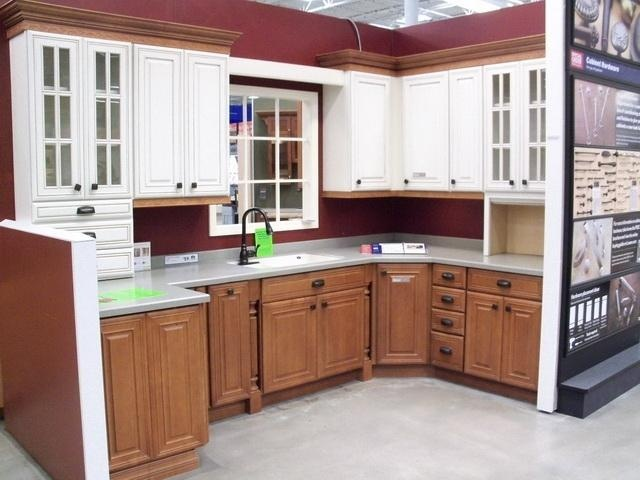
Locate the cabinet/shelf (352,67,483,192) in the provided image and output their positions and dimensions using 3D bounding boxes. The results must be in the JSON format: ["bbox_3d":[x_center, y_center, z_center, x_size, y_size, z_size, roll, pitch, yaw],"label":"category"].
[{"bbox_3d":[0.893,-1.006,4.763,1.140,1.081,0.402,2,3,34],"label":"cabinet/shelf"}]

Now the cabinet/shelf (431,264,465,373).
[{"bbox_3d":[1.099,0.678,4.531,0.099,0.926,0.346,-7,11,-40],"label":"cabinet/shelf"}]

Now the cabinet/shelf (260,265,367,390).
[{"bbox_3d":[-0.079,0.683,4.211,0.979,0.855,0.407,-5,6,-42],"label":"cabinet/shelf"}]

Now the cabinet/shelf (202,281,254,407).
[{"bbox_3d":[-0.618,0.743,3.849,0.103,0.881,0.417,7,11,42],"label":"cabinet/shelf"}]
